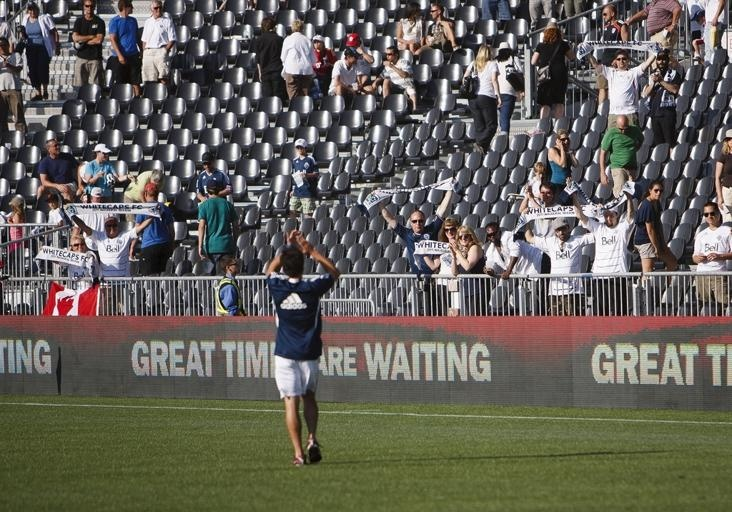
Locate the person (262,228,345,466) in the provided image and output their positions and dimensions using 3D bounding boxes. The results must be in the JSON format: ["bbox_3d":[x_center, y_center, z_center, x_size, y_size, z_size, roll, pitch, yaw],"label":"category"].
[{"bbox_3d":[-0.997,1.476,33.504,0.955,3.685,0.610,-3,-3,-3],"label":"person"}]

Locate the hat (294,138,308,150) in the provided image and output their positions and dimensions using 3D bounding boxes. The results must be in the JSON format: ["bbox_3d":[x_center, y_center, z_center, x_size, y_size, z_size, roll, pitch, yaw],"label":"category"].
[{"bbox_3d":[-1.275,-2.200,42.226,0.152,0.145,0.247,1,-1,8],"label":"hat"}]

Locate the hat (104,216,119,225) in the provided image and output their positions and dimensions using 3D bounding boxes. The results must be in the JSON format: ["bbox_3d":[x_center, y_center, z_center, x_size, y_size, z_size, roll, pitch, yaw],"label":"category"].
[{"bbox_3d":[-4.623,-0.629,39.157,0.151,0.122,0.157,-1,3,-26],"label":"hat"}]

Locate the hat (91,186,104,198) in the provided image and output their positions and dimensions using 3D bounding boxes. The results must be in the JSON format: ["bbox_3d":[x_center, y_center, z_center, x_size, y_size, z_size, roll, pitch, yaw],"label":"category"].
[{"bbox_3d":[-5.048,-1.201,40.488,0.205,0.246,0.698,-3,-4,-9],"label":"hat"}]

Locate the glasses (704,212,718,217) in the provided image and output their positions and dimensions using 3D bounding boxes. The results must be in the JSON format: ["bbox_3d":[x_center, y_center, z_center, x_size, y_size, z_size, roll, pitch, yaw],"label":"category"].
[{"bbox_3d":[5.974,-0.703,37.346,0.251,0.065,0.163,-5,-4,23],"label":"glasses"}]

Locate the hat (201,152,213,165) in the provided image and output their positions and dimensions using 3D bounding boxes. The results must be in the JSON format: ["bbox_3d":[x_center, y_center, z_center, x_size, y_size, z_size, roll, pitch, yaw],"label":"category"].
[{"bbox_3d":[-3.019,-1.871,41.166,0.201,0.268,0.527,-3,-4,-5],"label":"hat"}]

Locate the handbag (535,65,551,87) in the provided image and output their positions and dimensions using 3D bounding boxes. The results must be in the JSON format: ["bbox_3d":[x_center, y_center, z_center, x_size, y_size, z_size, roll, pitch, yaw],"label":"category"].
[{"bbox_3d":[3.472,-3.560,42.053,0.109,0.338,0.247,7,-4,-35],"label":"handbag"}]
